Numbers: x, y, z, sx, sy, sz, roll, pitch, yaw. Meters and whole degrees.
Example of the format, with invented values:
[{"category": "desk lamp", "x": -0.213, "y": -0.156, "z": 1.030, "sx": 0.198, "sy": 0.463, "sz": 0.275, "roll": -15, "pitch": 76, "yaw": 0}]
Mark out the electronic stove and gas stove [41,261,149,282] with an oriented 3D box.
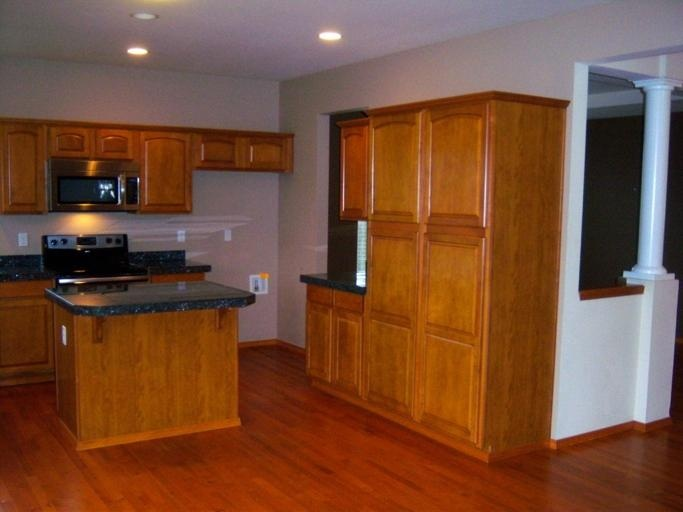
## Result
[{"category": "electronic stove and gas stove", "x": -2.446, "y": 0.108, "z": 5.933, "sx": 0.832, "sy": 0.168, "sz": 0.739, "roll": 0, "pitch": 7, "yaw": -33}]
